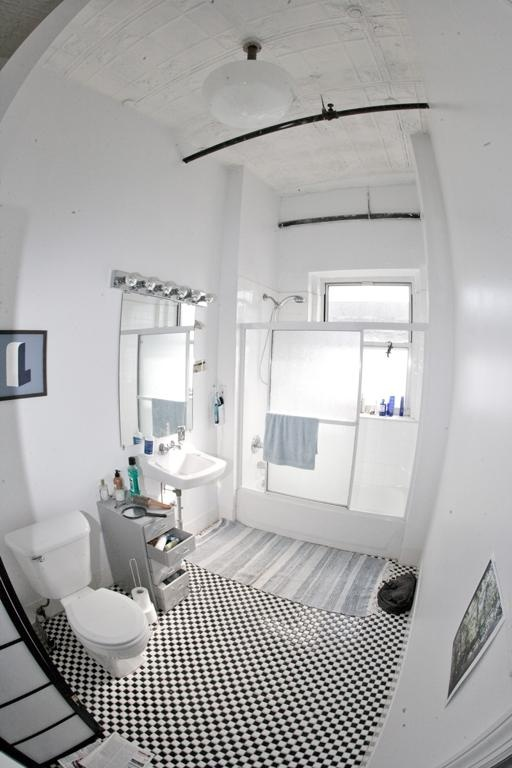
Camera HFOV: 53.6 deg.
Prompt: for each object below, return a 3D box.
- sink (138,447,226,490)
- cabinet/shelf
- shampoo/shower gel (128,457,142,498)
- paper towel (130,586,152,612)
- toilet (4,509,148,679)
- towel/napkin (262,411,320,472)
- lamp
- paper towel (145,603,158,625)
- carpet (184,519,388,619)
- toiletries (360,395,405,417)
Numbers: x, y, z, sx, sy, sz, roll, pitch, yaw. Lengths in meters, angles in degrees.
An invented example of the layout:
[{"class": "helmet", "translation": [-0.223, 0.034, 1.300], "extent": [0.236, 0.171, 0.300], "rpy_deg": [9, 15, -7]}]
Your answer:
[{"class": "sink", "translation": [-0.339, 0.418, 2.467], "extent": [0.243, 0.118, 0.276], "rpy_deg": [6, 10, 25]}, {"class": "cabinet/shelf", "translation": [-0.439, 0.764, 2.218], "extent": [0.327, 0.431, 0.198], "rpy_deg": [11, 22, 40]}, {"class": "shampoo/shower gel", "translation": [-0.520, 0.402, 2.168], "extent": [0.045, 0.204, 0.100], "rpy_deg": [0, 7, -15]}, {"class": "paper towel", "translation": [-0.455, 0.863, 2.032], "extent": [0.065, 0.077, 0.069], "rpy_deg": [-13, 5, -8]}, {"class": "toilet", "translation": [-0.587, 0.610, 1.617], "extent": [0.468, 0.523, 0.326], "rpy_deg": [-5, 9, -43]}, {"class": "towel/napkin", "translation": [0.217, 0.331, 2.949], "extent": [0.299, 0.295, 0.083], "rpy_deg": [9, 16, 33]}, {"class": "lamp", "translation": [-0.023, -0.680, 1.179], "extent": [0.150, 0.138, 0.159], "rpy_deg": [-2, -13, 10]}, {"class": "paper towel", "translation": [-0.413, 0.917, 2.008], "extent": [0.052, 0.073, 0.073], "rpy_deg": [-9, -4, -12]}, {"class": "carpet", "translation": [0.173, 0.929, 2.593], "extent": [0.949, 0.043, 0.675], "rpy_deg": [5, 8, 25]}, {"class": "toiletries", "translation": [0.814, 0.143, 3.253], "extent": [0.263, 0.127, 0.070], "rpy_deg": [3, 7, 12]}]
